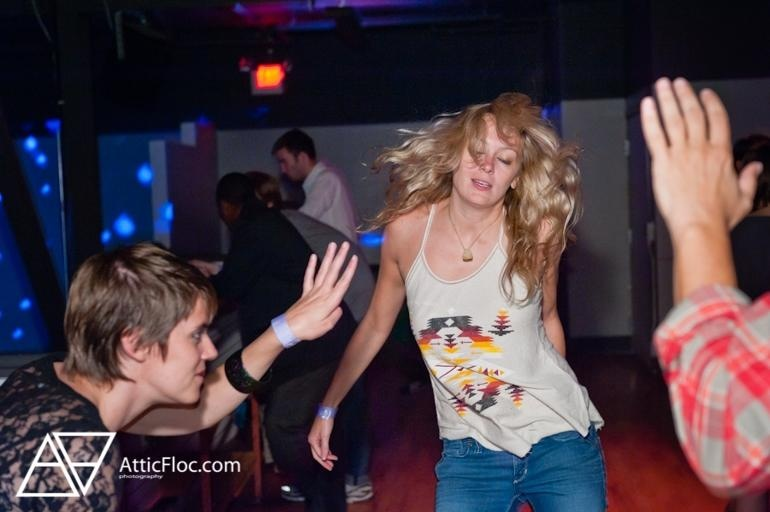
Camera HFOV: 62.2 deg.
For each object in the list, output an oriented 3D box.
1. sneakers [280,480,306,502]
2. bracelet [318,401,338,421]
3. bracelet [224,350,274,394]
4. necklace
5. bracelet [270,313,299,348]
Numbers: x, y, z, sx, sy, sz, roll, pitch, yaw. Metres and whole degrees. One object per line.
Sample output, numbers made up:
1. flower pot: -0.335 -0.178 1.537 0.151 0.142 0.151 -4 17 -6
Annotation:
1. sneakers: -0.491 1.260 3.439 0.138 0.098 0.087 8 3 21
2. bracelet: -0.223 0.610 2.514 0.061 0.050 0.063 6 -2 12
3. bracelet: -0.529 0.451 2.496 0.184 0.121 0.172 32 4 -45
4. necklace: 0.333 -0.094 2.325 0.139 0.248 0.040 10 -16 8
5. bracelet: -0.362 0.274 2.319 0.101 0.068 0.114 45 -12 38
